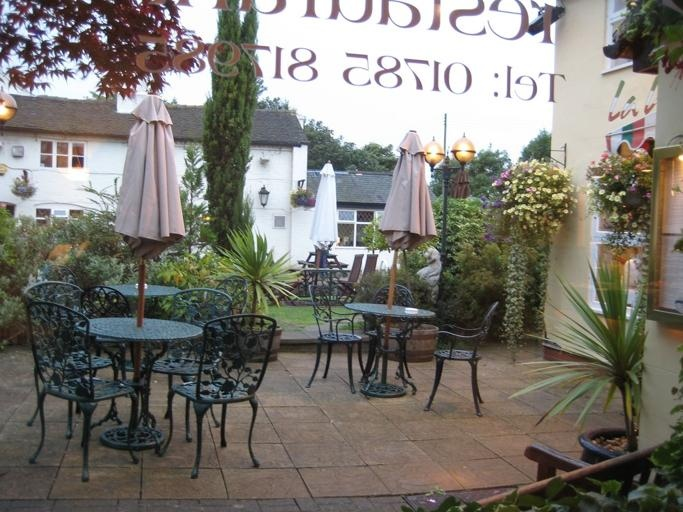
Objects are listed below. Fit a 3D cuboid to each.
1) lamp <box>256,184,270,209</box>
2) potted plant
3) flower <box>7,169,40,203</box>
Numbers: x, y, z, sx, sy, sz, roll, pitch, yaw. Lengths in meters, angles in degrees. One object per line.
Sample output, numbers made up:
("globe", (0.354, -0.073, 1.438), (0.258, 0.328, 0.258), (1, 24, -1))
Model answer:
("lamp", (-1.129, -0.840, 8.423), (0.152, 0.320, 0.463), (3, 5, -6))
("potted plant", (1.614, 0.628, 3.688), (0.588, 1.146, 0.714), (6, 6, 26))
("flower", (-3.099, -0.659, 5.647), (0.292, 0.215, 0.327), (4, -12, -10))
